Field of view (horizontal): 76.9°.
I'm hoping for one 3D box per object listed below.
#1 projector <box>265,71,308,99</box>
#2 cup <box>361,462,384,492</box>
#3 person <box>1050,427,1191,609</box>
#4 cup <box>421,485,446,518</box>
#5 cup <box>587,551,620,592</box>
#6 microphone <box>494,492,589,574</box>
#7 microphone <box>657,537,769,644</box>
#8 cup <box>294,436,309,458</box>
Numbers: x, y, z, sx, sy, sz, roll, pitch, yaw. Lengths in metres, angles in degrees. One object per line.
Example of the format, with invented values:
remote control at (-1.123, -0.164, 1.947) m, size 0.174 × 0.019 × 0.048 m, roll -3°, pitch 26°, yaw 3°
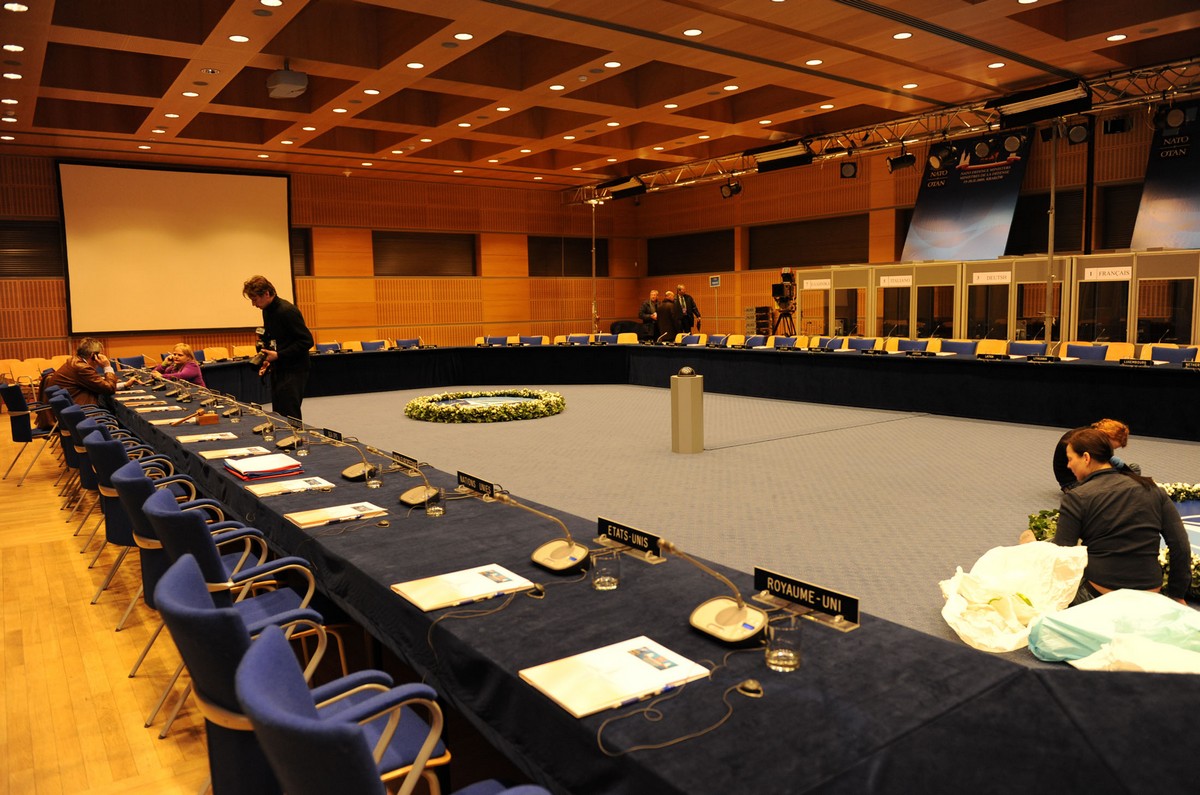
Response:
projector at (-4.076, -4.137, 9.775) m, size 0.324 × 0.294 × 0.469 m, roll -11°, pitch 16°, yaw -39°
cup at (-1.375, 0.497, 4.597) m, size 0.120 × 0.126 × 0.135 m, roll -1°, pitch 8°, yaw -4°
person at (3.030, 0.714, 4.418) m, size 0.658 × 1.140 × 0.626 m, roll -15°, pitch 26°, yaw 12°
cup at (-0.898, 0.580, 4.090) m, size 0.118 × 0.133 × 0.138 m, roll -1°, pitch 8°, yaw -5°
cup at (0.017, 0.746, 3.214) m, size 0.113 × 0.107 × 0.140 m, roll -2°, pitch 5°, yaw -2°
microphone at (-0.214, 0.649, 3.515) m, size 0.167 × 0.286 × 0.529 m, roll -11°, pitch 8°, yaw -32°
microphone at (0.468, 0.727, 2.902) m, size 0.324 × 0.346 × 0.242 m, roll -25°, pitch 20°, yaw -39°
cup at (-2.189, 0.359, 5.502) m, size 0.106 × 0.164 × 0.108 m, roll -1°, pitch 13°, yaw 0°
